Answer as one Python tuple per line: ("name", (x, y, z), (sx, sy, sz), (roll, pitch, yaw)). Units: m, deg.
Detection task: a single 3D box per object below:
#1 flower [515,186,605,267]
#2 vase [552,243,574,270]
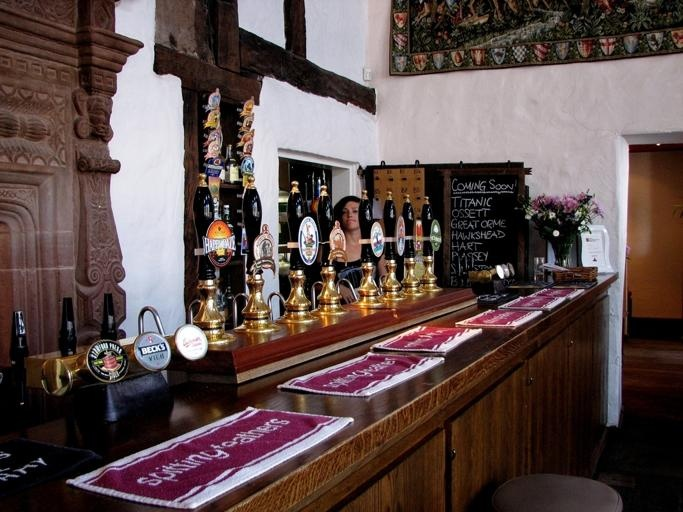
("flower", (2.074, -0.225, 5.207), (0.606, 0.667, 0.626), (2, 3, 10))
("vase", (2.057, -0.004, 5.077), (0.200, 0.282, 0.219), (-2, -4, 43))
